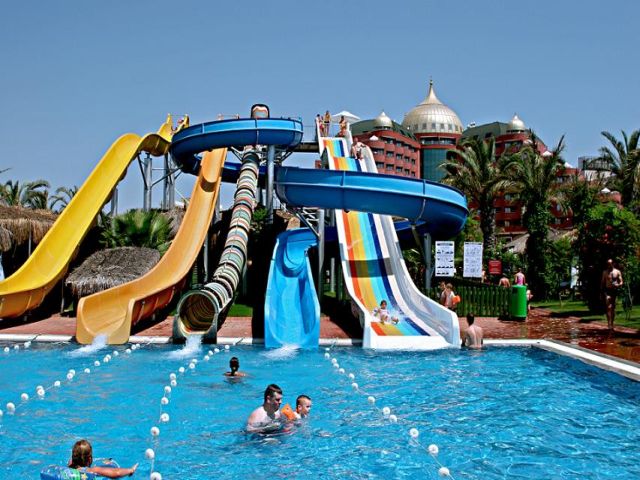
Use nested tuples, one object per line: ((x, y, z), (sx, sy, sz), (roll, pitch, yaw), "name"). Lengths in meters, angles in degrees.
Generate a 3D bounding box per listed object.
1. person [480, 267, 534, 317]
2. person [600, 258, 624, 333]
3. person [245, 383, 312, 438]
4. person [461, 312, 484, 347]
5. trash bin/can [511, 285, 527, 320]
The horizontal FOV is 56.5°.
((5.822, 1.879, 18.558), (1.235, 1.874, 0.809), (3, 4, 27), "person")
((7.663, 1.452, 15.656), (0.438, 1.796, 0.910), (3, 8, 23), "person")
((-0.678, 2.648, 9.680), (0.955, 0.846, 0.670), (0, 5, -23), "person")
((3.612, 2.217, 14.211), (0.481, 0.890, 0.489), (-2, 2, -14), "person")
((5.979, 1.885, 17.883), (0.434, 1.007, 0.353), (1, 7, 10), "trash bin/can")
